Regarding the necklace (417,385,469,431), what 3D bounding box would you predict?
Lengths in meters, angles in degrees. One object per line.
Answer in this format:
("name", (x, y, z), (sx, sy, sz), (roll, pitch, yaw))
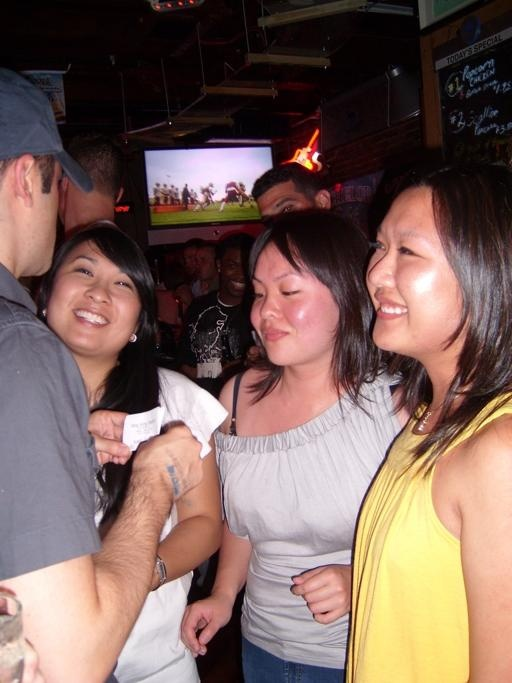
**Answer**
("necklace", (0.452, 0.181, 1.289), (0.041, 0.110, 0.084), (36, 28, 18))
